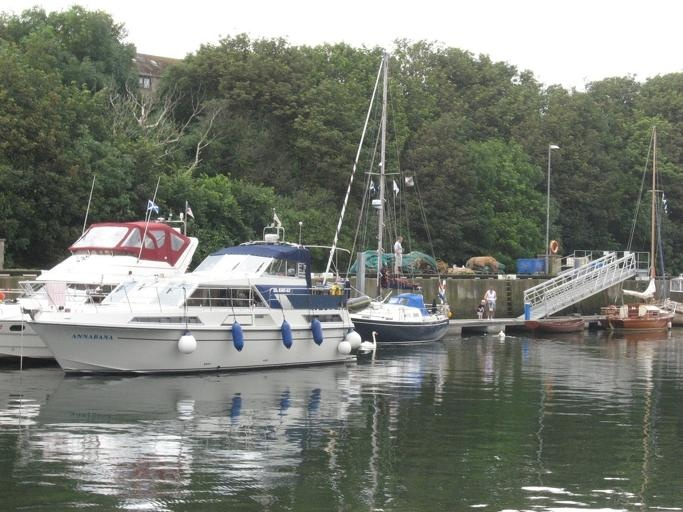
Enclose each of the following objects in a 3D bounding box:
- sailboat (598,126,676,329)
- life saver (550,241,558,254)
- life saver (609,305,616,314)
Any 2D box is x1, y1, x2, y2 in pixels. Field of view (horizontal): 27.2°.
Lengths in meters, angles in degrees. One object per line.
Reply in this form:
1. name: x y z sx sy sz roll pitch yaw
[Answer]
1. sailboat: 19.504 -2.867 91.381 3.998 16.509 35.900 -1 -5 13
2. life saver: 12.523 -0.522 82.952 0.112 0.577 0.822 6 -1 27
3. life saver: 14.496 2.872 74.923 0.514 0.407 0.363 1 -4 -10
